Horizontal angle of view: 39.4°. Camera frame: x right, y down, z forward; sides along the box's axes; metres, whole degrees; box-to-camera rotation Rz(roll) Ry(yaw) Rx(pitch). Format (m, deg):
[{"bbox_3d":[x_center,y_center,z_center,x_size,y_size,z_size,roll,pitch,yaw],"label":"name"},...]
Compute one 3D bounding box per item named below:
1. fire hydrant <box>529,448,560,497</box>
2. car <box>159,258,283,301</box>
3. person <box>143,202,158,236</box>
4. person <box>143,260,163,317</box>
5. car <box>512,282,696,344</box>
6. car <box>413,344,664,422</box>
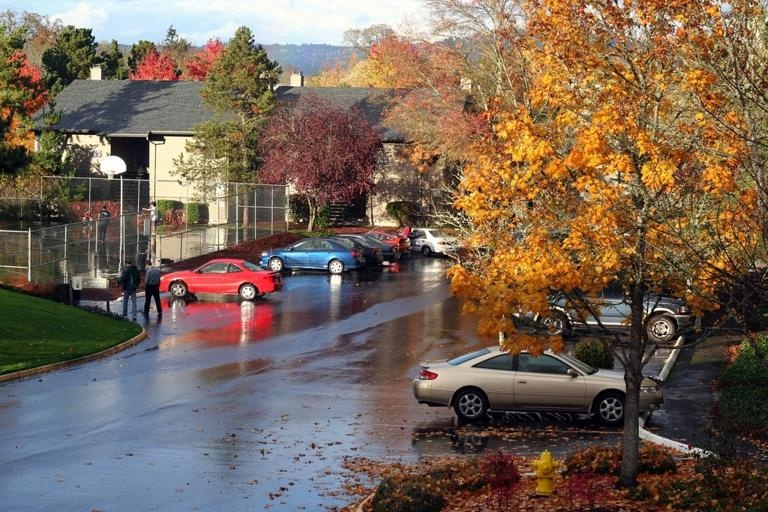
[{"bbox_3d":[3.335,4.442,22.051,0.586,0.796,0.641,1,-2,-12],"label":"fire hydrant"},{"bbox_3d":[-6.466,0.932,43.275,4.625,1.441,1.896,4,3,5],"label":"car"},{"bbox_3d":[-10.490,-1.651,48.548,0.661,0.740,1.814,-5,16,-7],"label":"person"},{"bbox_3d":[-8.255,1.121,38.573,0.660,2.002,1.475,-2,5,-12],"label":"person"},{"bbox_3d":[6.491,2.041,31.977,6.495,2.264,2.711,-1,3,14],"label":"car"},{"bbox_3d":[3.895,3.165,27.376,6.058,1.731,2.417,-1,1,4],"label":"car"}]
